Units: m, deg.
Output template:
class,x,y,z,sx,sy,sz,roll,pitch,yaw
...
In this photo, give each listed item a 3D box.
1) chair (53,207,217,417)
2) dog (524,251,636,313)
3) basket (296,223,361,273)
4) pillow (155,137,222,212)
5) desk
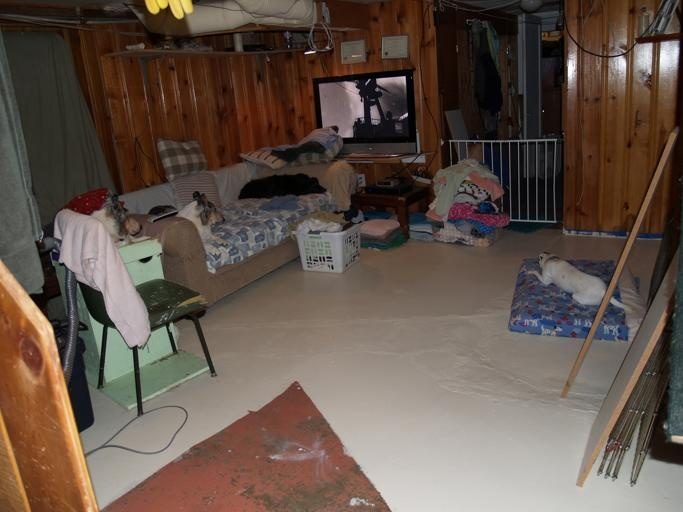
class,x,y,z,sx,sy,sz,roll,pitch,yaw
chair,-1.128,0.237,2.697,0.541,1.086,0.624,15,29,42
dog,1.577,0.171,3.308,0.240,0.234,0.715,-32,42,-12
basket,-0.107,-0.070,4.380,0.404,0.335,0.475,3,14,26
pillow,-1.457,-0.806,4.636,0.469,0.744,0.221,-14,-9,-38
desk,0.437,-0.427,5.241,0.569,0.408,0.596,1,6,6
